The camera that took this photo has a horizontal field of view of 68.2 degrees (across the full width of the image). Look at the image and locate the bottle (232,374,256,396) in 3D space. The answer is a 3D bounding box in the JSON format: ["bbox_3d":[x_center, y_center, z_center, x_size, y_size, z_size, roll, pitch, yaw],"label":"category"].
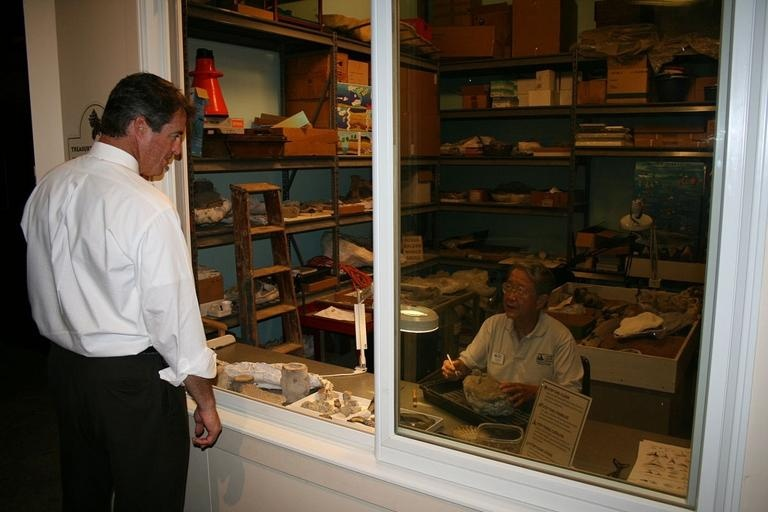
[{"bbox_3d":[-0.586,0.535,2.343,0.073,0.045,0.070,-1,2,0],"label":"bottle"}]

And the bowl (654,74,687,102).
[{"bbox_3d":[1.574,-0.907,3.101,0.095,0.159,0.393,0,10,17],"label":"bowl"}]

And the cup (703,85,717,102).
[{"bbox_3d":[0.881,-0.435,1.528,0.042,0.039,0.041,-2,5,0],"label":"cup"}]

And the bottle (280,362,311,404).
[{"bbox_3d":[-0.356,0.503,2.264,0.162,0.199,0.128,0,-7,1],"label":"bottle"}]

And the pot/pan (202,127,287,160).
[{"bbox_3d":[-0.891,-0.681,3.594,0.351,0.126,0.244,-8,13,-44],"label":"pot/pan"}]

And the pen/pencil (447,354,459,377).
[{"bbox_3d":[0.236,0.364,1.958,0.019,0.103,0.015,-20,-1,6],"label":"pen/pencil"}]
